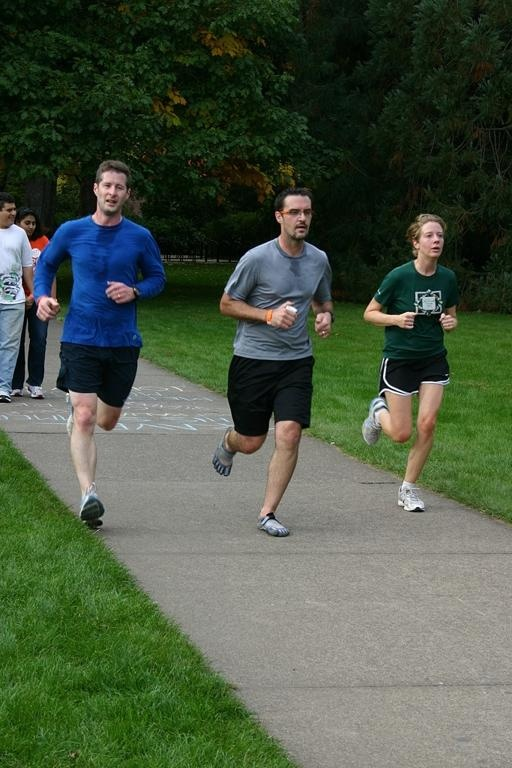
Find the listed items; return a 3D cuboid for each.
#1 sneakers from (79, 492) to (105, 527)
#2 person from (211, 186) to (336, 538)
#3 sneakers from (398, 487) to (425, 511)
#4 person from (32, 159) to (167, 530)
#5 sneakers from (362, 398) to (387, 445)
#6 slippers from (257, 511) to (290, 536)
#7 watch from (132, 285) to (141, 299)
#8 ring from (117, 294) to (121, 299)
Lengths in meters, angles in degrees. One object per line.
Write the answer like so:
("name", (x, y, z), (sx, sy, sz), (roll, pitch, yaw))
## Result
("sneakers", (-0.877, 0.673, 4.597), (0.103, 0.241, 0.116), (3, 52, -13))
("person", (0.082, -0.158, 4.990), (0.635, 1.942, 0.874), (10, 8, 3))
("sneakers", (0.982, 0.726, 5.458), (0.096, 0.092, 0.219), (0, 0, -11))
("person", (-0.932, -0.258, 4.809), (0.725, 1.976, 0.881), (8, 9, -10))
("sneakers", (0.835, 0.277, 6.090), (0.144, 0.358, 0.159), (0, 35, -4))
("slippers", (0.092, 0.781, 4.739), (0.083, 0.078, 0.206), (-1, -3, -20))
("watch", (-0.663, -0.509, 4.779), (0.048, 0.055, 0.066), (2, 7, -7))
("ring", (-0.747, -0.483, 4.698), (0.017, 0.015, 0.004), (24, 4, 17))
